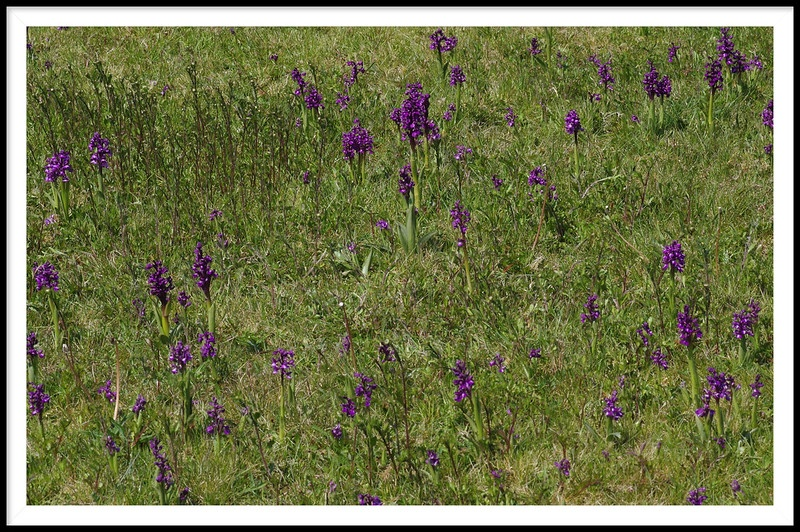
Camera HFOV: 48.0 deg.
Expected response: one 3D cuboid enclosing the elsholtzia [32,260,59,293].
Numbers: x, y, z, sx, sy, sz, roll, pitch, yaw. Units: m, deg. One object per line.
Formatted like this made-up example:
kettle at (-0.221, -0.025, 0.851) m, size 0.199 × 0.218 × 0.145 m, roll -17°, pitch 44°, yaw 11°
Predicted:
elsholtzia at (-2.847, 0.087, 7.169) m, size 0.175 × 0.254 × 0.179 m, roll -17°, pitch -4°, yaw 29°
